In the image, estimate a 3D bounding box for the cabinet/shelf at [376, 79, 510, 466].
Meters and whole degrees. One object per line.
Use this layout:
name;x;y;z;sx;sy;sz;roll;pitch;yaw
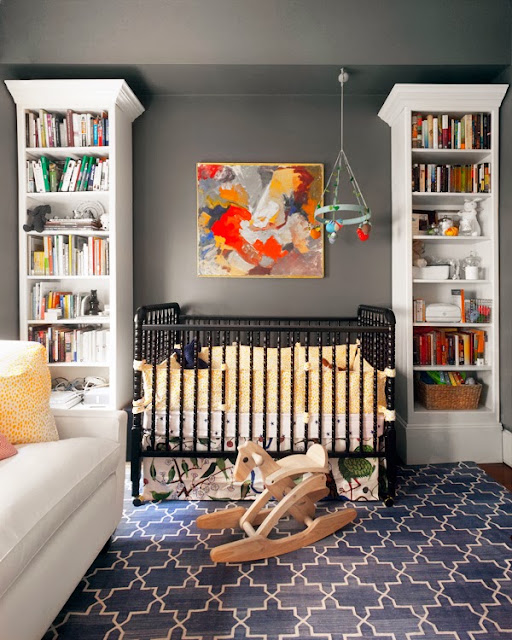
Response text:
cabinet/shelf;1.076;-0.250;3.298;0.612;2.049;0.481;-2;3;-1

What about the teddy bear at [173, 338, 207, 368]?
teddy bear;-0.302;0.150;2.713;0.150;0.140;0.054;-19;4;21

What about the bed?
bed;0.058;0.331;3.049;1.548;1.064;0.932;1;0;1

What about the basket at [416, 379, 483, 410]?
basket;1.079;0.428;3.195;0.314;0.148;0.111;0;3;19

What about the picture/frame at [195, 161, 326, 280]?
picture/frame;0.046;-0.624;3.469;0.786;0.617;0.028;0;4;3

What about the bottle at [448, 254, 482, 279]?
bottle;1.211;-0.303;3.286;0.123;0.165;0.200;2;-3;-15
